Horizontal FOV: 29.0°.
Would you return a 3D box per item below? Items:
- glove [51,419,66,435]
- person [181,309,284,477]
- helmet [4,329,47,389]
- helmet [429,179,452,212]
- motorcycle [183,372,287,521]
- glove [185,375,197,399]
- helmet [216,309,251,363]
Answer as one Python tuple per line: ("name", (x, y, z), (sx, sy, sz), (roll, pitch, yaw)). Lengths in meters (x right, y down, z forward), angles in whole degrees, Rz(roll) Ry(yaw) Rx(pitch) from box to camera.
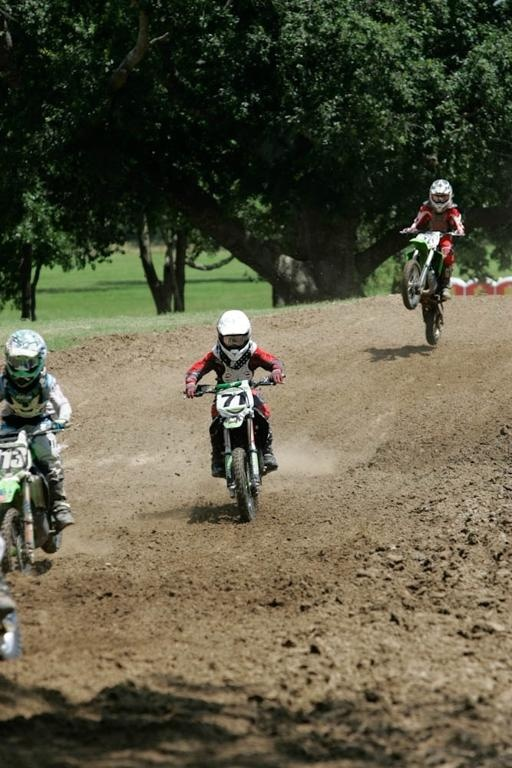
("glove", (-1.574, 0.340, 7.869), (0.128, 0.062, 0.166), (-3, 1, -9))
("person", (-0.228, 0.115, 9.081), (0.936, 1.461, 0.867), (-6, 11, -15))
("helmet", (-1.807, -0.184, 7.885), (0.362, 0.471, 0.476), (3, 12, 0))
("helmet", (2.660, -2.729, 14.401), (0.393, 0.412, 0.486), (1, 25, 9))
("motorcycle", (-0.141, 0.615, 8.869), (0.575, 1.299, 0.681), (-4, 5, 28))
("glove", (-0.586, 0.026, 8.901), (0.079, 0.075, 0.255), (0, 38, 6))
("helmet", (-0.218, -0.424, 8.998), (0.308, 0.487, 0.411), (-6, 4, -2))
